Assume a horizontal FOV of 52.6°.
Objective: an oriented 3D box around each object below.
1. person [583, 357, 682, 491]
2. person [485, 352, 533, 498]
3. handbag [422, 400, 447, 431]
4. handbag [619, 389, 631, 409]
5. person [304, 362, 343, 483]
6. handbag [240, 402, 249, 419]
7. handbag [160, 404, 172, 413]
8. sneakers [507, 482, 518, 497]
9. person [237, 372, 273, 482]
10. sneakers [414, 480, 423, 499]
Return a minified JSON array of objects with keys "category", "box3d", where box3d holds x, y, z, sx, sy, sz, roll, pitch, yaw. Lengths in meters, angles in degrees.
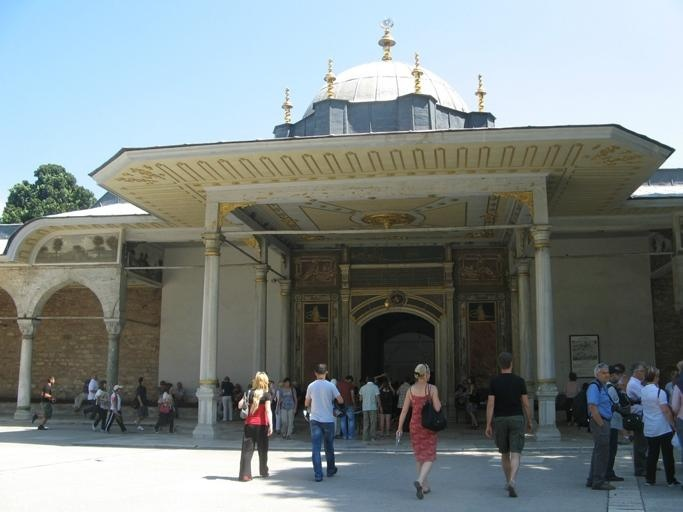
[{"category":"person","box3d":[4.168,2.471,10.039,1.327,1.732,1.059,-1,-14,3]},{"category":"person","box3d":[2.320,2.332,9.621,0.608,1.933,0.540,-3,-14,10]},{"category":"handbag","box3d":[1.251,2.212,9.499,0.323,0.414,0.224,-1,-14,4]},{"category":"handbag","box3d":[4.252,2.181,10.427,0.182,0.309,0.258,-11,-15,31]},{"category":"person","box3d":[-0.299,2.592,10.833,0.549,1.761,1.215,0,-14,-2]},{"category":"handbag","box3d":[-1.508,2.407,10.687,0.104,0.200,0.334,3,-14,-12]},{"category":"handbag","box3d":[-4.297,3.744,16.779,0.243,0.167,0.226,-22,-14,10]},{"category":"sneakers","box3d":[2.294,3.167,9.338,0.104,0.091,0.215,-6,-47,15]},{"category":"person","box3d":[-1.358,2.645,10.828,0.497,1.634,0.791,2,-14,-7]},{"category":"sneakers","box3d":[1.037,3.160,9.330,0.090,0.234,0.073,-11,-8,34]}]
